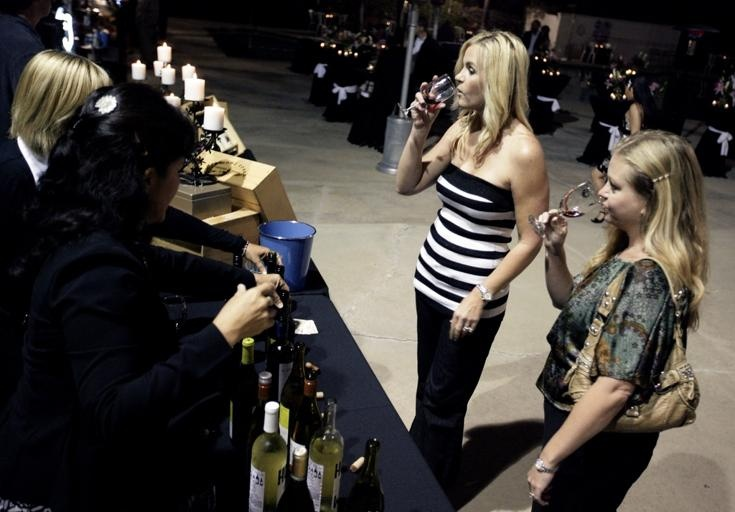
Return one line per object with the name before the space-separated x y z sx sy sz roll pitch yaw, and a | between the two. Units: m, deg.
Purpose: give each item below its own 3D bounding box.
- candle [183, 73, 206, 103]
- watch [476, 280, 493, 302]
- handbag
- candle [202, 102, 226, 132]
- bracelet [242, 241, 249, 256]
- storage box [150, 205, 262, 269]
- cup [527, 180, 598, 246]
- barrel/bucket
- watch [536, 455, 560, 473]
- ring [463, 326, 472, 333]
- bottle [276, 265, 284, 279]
candle | -1.134 -1.116 3.359 0.171 0.188 0.168 1 22 -18
watch | 0.464 0.143 2.064 0.061 0.032 0.068 6 45 -41
handbag | 0.859 0.316 1.583 0.384 0.522 0.150 7 16 -8
candle | -0.878 -0.798 2.941 0.149 0.164 0.146 6 20 -13
bracelet | -0.545 -0.033 2.264 0.038 0.049 0.020 3 -5 29
storage box | -0.668 -0.111 2.458 0.202 0.243 0.367 21 2 17
cup | 0.656 -0.151 1.821 0.294 0.114 0.076 -35 -10 40
barrel/bucket | -0.328 -0.003 2.391 0.317 0.315 0.311 2 21 -1
watch | 0.562 0.669 1.607 0.069 0.073 0.045 10 53 -5
ring | 0.405 0.301 2.063 0.029 0.028 0.029 3 8 0
bottle | -0.366 0.066 2.116 0.040 0.065 0.041 -1 16 0
